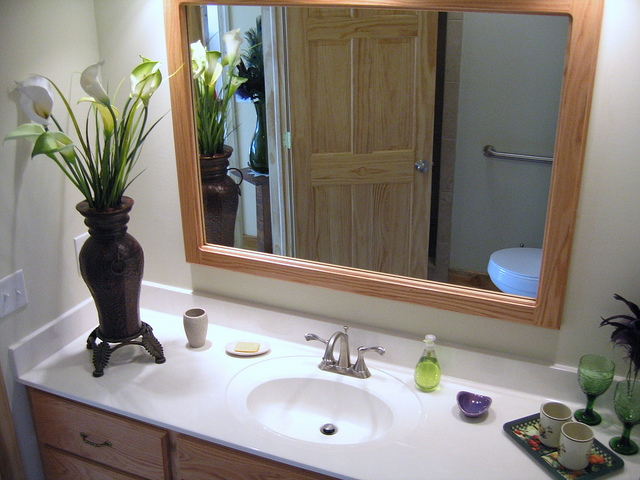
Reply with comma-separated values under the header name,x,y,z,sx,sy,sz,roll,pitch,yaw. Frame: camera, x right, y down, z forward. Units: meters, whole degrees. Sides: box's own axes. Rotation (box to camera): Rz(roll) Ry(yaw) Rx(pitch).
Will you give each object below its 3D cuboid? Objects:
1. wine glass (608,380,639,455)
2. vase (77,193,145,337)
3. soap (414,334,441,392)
name,x,y,z,sx,sy,sz,roll,pitch,yaw
wine glass,0.882,0.498,1.421,0.078,0.189,0.129,12,21,31
vase,-0.713,0.088,1.705,0.197,0.511,0.152,-9,20,-27
soap,0.360,0.397,1.616,0.099,0.187,0.072,-11,21,-31
